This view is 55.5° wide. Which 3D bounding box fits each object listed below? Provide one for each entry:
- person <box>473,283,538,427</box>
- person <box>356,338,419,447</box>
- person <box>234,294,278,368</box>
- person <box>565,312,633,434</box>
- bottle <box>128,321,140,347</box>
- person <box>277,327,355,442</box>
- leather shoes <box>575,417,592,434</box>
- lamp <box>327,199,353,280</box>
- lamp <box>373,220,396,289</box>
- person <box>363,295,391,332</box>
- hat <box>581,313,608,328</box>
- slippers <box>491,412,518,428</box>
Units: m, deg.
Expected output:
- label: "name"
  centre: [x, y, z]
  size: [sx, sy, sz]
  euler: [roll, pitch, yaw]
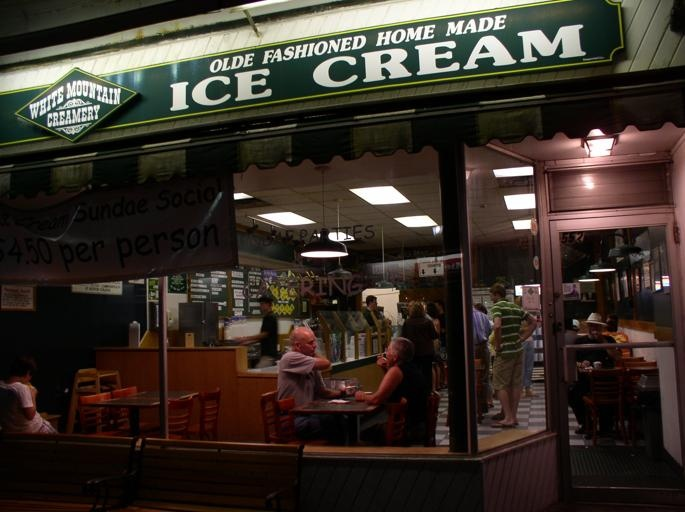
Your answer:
- label: "person"
  centre: [1.689, 0.967, 6.439]
  size: [0.160, 1.398, 0.709]
  euler: [-8, -8, 42]
- label: "person"
  centre: [0.442, 1.307, 6.580]
  size: [0.636, 0.953, 0.491]
  euler: [-4, -6, 14]
- label: "person"
  centre: [-1.017, 0.988, 8.443]
  size: [0.364, 0.945, 1.121]
  euler: [-1, -6, -11]
- label: "person"
  centre: [2.681, 1.236, 6.817]
  size: [0.666, 1.291, 0.320]
  euler: [2, -8, -35]
- label: "bottle"
  centre: [-3.379, 1.248, 10.499]
  size: [0.190, 0.415, 0.832]
  euler: [0, -6, -17]
- label: "person"
  centre: [-0.349, 1.345, 7.005]
  size: [0.713, 1.179, 0.797]
  euler: [-1, -6, -10]
- label: "leather shoes"
  centre: [2.528, 1.778, 6.778]
  size: [0.090, 0.122, 0.270]
  euler: [3, -8, -21]
- label: "lamp"
  centre: [-0.021, -0.189, 6.919]
  size: [0.262, 0.876, 0.318]
  euler: [-3, -6, 12]
- label: "lamp"
  centre: [0.431, 0.015, 6.817]
  size: [0.162, 0.653, 0.378]
  euler: [-2, -6, 1]
- label: "person"
  centre: [0.365, 0.625, 7.084]
  size: [0.277, 0.377, 0.859]
  euler: [-2, -6, 2]
- label: "hat"
  centre: [2.644, 0.662, 6.761]
  size: [0.222, 0.158, 0.063]
  euler: [0, -7, -21]
- label: "slippers"
  centre: [1.554, 1.569, 6.207]
  size: [0.359, 0.139, 0.123]
  euler: [7, -14, -20]
